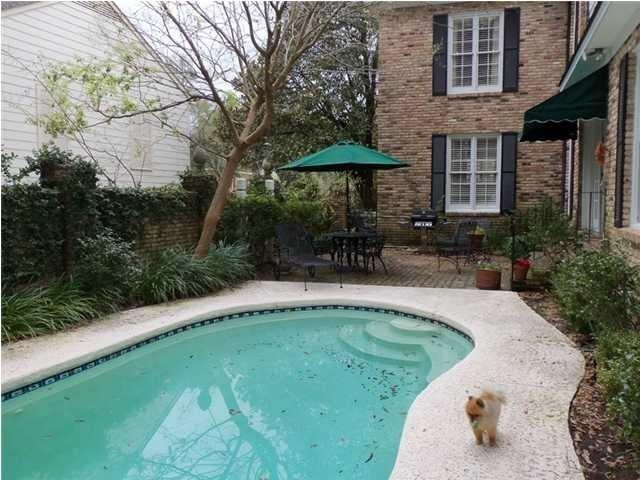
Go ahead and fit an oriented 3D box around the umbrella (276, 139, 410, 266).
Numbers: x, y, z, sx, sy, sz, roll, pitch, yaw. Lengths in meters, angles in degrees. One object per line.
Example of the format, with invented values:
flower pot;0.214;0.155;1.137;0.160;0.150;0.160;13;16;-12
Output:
umbrella;0.614;-1.019;10.400;2.518;1.867;2.595;2;4;27

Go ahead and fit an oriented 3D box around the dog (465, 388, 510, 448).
dog;1.453;1.539;3.892;0.197;0.494;0.465;4;15;38
